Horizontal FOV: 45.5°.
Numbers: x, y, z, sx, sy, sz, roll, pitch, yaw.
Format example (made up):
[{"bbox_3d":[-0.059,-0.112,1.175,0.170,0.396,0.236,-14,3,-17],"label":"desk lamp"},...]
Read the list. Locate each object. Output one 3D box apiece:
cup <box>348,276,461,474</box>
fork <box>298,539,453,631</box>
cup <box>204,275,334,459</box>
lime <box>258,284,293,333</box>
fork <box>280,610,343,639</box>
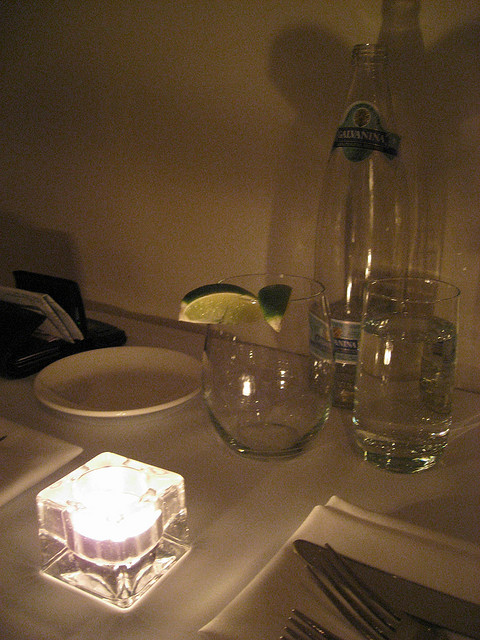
[{"bbox_3d":[0.147,0.043,0.523,0.085,0.165,0.114,4,9,10],"label":"cup"},{"bbox_3d":[0.076,0.140,0.327,0.025,0.014,0.086,-22,26,-37],"label":"fork"},{"bbox_3d":[0.021,0.043,0.482,0.091,0.159,0.071,7,11,27],"label":"cup"},{"bbox_3d":[0.027,-0.010,0.445,0.031,0.031,0.032,0,21,0],"label":"lime"},{"bbox_3d":[0.037,0.163,0.307,0.021,0.001,0.011,14,30,41],"label":"fork"}]
